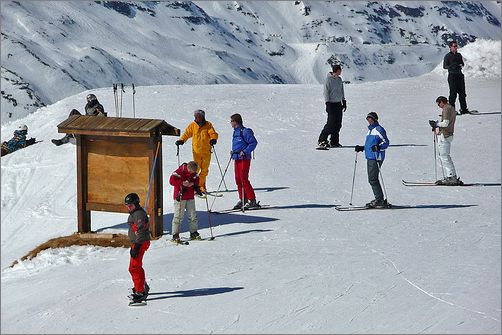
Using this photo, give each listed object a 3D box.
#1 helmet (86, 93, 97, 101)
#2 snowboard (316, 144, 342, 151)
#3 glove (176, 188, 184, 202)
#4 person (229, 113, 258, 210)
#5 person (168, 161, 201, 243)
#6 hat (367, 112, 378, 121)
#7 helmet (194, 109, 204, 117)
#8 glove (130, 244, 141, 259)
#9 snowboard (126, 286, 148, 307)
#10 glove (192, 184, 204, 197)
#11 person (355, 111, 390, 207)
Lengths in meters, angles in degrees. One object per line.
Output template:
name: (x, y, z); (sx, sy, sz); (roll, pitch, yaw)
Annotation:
helmet: (-5.951, -2.620, 29.920); (0.348, 0.281, 0.275); (-21, 45, -7)
snowboard: (3.164, -0.886, 33.663); (1.317, 0.322, 0.191); (-7, 11, -36)
glove: (-2.294, 0.881, 25.899); (0.194, 0.426, 0.150); (13, -9, 9)
person: (-0.257, -0.219, 27.906); (0.877, 3.299, 0.770); (-3, 3, -1)
person: (-2.134, 1.072, 26.000); (0.955, 2.600, 1.000); (-3, 3, -5)
hat: (4.144, -1.752, 27.468); (0.278, 0.284, 0.357); (14, 10, 33)
helmet: (-1.819, -1.921, 28.250); (0.305, 0.250, 0.360); (-3, 3, -11)
glove: (-3.386, 2.439, 23.581); (0.310, 0.374, 0.175); (8, -11, 5)
snowboard: (-3.323, 3.758, 23.570); (0.601, 0.388, 0.840); (2, -4, -7)
glove: (-1.729, 0.720, 25.958); (0.269, 0.346, 0.431); (-3, 3, -7)
person: (4.243, -0.247, 27.424); (0.799, 3.304, 0.508); (-2, 3, 7)
